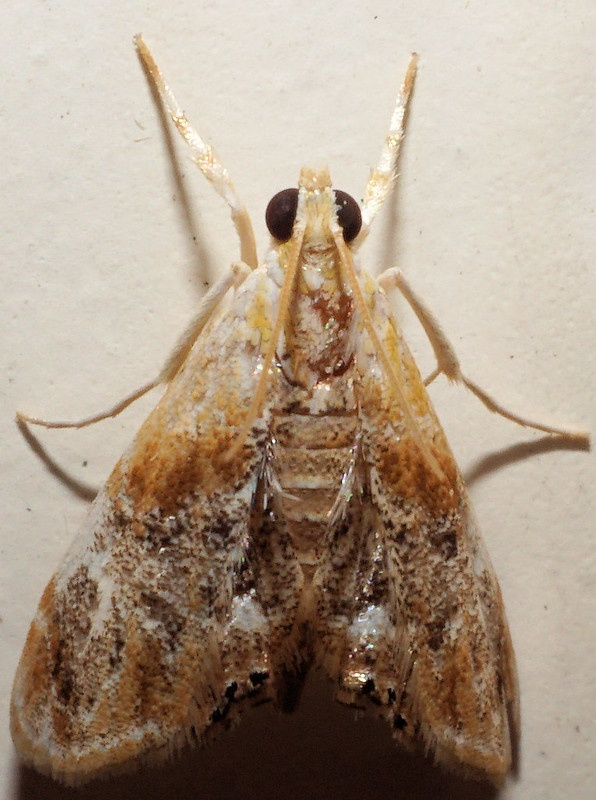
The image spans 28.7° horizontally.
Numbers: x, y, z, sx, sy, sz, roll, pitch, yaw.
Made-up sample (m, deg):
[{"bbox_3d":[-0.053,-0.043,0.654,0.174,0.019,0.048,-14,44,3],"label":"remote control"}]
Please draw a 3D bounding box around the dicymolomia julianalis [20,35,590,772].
[{"bbox_3d":[0.005,0.052,2.177,1.338,0.369,1.446,-1,88,-1],"label":"dicymolomia julianalis"}]
